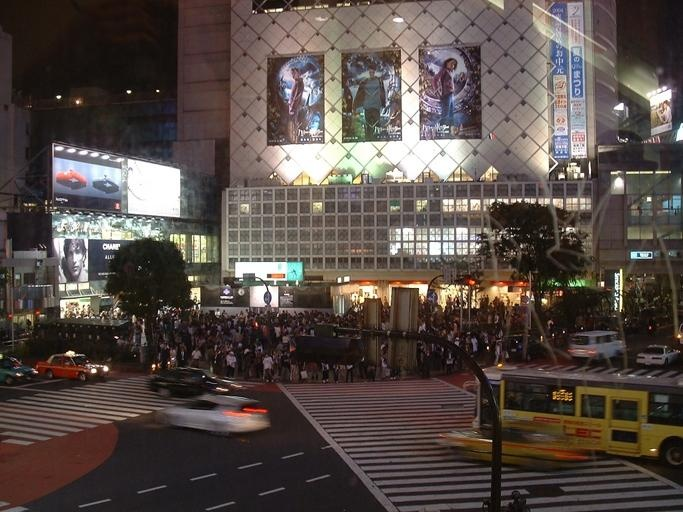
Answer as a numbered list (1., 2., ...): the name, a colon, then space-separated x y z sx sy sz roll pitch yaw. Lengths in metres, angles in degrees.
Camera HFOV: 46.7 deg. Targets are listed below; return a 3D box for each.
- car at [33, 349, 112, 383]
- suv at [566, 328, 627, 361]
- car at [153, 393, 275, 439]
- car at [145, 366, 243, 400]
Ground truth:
1. car: -17.523 7.476 51.404 2.623 2.114 3.576 -3 2 26
2. suv: 17.783 6.147 55.468 3.798 1.729 1.905 -5 6 -37
3. car: -6.583 8.322 41.888 4.507 1.635 2.357 4 -2 21
4. car: -8.241 6.954 43.287 4.749 1.678 2.230 6 2 22
